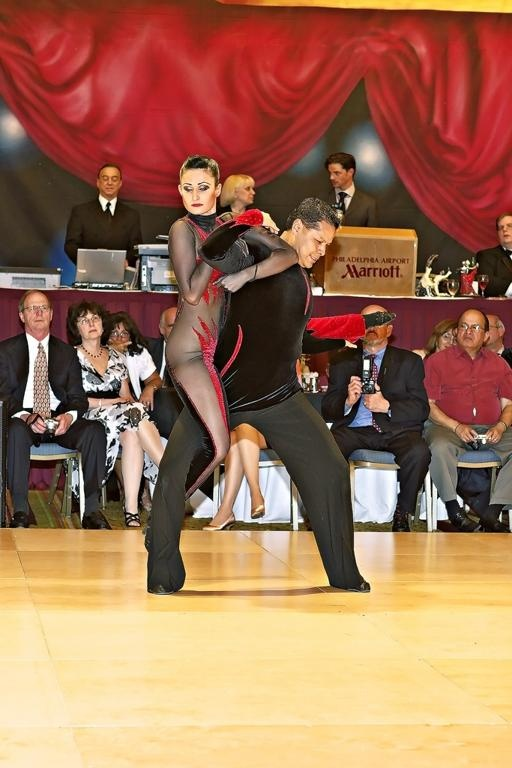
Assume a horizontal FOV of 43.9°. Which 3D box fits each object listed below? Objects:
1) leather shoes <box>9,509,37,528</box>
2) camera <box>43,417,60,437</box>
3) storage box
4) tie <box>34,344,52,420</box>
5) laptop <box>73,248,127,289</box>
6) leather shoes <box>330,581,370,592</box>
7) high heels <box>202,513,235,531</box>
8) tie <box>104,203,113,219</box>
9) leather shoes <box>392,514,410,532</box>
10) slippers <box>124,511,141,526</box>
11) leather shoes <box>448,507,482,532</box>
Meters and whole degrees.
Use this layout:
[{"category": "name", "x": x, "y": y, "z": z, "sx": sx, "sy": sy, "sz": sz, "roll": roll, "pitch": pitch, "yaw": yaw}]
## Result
[{"category": "leather shoes", "x": -1.513, "y": 0.893, "z": 4.131, "sx": 0.115, "sy": 0.127, "sz": 0.579, "roll": 4, "pitch": -6, "yaw": -13}, {"category": "camera", "x": -1.401, "y": 0.294, "z": 4.346, "sx": 0.080, "sy": 0.099, "sz": 0.036, "roll": 4, "pitch": 10, "yaw": -5}, {"category": "storage box", "x": 1.033, "y": -1.075, "z": 5.980, "sx": 1.136, "sy": 0.744, "sz": 0.597, "roll": 0, "pitch": 6, "yaw": -3}, {"category": "tie", "x": -1.547, "y": -0.034, "z": 4.605, "sx": 0.129, "sy": 0.513, "sz": 0.116, "roll": 4, "pitch": -7, "yaw": -18}, {"category": "laptop", "x": -1.381, "y": -1.000, "z": 5.763, "sx": 0.480, "sy": 0.431, "sz": 0.350, "roll": 3, "pitch": 2, "yaw": -6}, {"category": "leather shoes", "x": 0.360, "y": 0.760, "z": 2.393, "sx": 0.133, "sy": 0.052, "sz": 0.047, "roll": -2, "pitch": -1, "yaw": 7}, {"category": "high heels", "x": -0.256, "y": 0.946, "z": 4.318, "sx": 0.087, "sy": 0.089, "sz": 0.250, "roll": -6, "pitch": -6, "yaw": 43}, {"category": "tie", "x": -1.566, "y": -1.841, "z": 6.778, "sx": 0.086, "sy": 0.148, "sz": 0.038, "roll": 6, "pitch": -14, "yaw": -13}, {"category": "leather shoes", "x": 1.020, "y": 0.979, "z": 4.467, "sx": 0.115, "sy": 0.119, "sz": 0.178, "roll": 1, "pitch": -6, "yaw": 10}, {"category": "slippers", "x": -0.878, "y": 0.970, "z": 4.510, "sx": 0.105, "sy": 0.066, "sz": 0.285, "roll": 0, "pitch": -1, "yaw": -9}, {"category": "leather shoes", "x": 1.473, "y": 0.964, "z": 4.469, "sx": 0.124, "sy": 0.131, "sz": 0.316, "roll": -27, "pitch": 7, "yaw": -17}]
